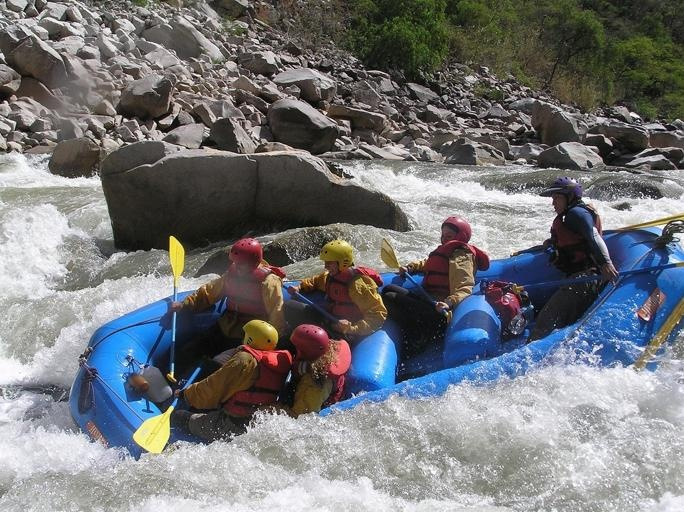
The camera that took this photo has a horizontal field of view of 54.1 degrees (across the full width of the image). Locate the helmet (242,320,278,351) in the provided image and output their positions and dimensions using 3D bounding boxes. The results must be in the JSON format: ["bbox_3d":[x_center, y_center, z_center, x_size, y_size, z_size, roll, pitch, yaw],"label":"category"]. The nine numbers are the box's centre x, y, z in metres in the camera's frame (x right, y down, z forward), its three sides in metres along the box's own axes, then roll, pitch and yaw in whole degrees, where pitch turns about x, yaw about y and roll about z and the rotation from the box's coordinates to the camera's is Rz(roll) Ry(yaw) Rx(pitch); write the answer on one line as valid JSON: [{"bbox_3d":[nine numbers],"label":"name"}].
[{"bbox_3d":[-0.602,0.564,5.008,0.241,0.197,0.182,30,14,30],"label":"helmet"}]

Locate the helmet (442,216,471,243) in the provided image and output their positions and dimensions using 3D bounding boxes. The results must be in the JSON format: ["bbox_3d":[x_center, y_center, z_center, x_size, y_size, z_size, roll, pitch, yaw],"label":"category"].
[{"bbox_3d":[1.032,-0.213,6.028,0.249,0.193,0.221,19,58,-37],"label":"helmet"}]

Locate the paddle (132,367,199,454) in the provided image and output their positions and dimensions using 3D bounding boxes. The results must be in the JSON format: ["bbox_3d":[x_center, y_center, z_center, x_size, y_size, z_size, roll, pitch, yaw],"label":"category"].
[{"bbox_3d":[-1.278,1.131,5.094,0.215,0.038,0.920,20,28,4],"label":"paddle"}]

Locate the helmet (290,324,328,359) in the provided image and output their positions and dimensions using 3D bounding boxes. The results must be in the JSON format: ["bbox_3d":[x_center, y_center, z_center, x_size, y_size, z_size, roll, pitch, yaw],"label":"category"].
[{"bbox_3d":[-0.228,0.648,5.085,0.259,0.252,0.203,21,14,11],"label":"helmet"}]

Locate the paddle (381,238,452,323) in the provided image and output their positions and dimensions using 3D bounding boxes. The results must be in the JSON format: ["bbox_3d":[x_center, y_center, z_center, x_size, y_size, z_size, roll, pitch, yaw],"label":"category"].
[{"bbox_3d":[0.579,0.159,6.164,0.129,0.205,1.233,9,40,-49],"label":"paddle"}]

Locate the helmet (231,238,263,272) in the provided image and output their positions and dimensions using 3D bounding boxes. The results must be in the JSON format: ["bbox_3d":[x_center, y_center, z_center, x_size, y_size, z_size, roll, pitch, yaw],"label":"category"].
[{"bbox_3d":[-0.781,-0.012,5.599,0.271,0.226,0.198,34,-5,-32],"label":"helmet"}]

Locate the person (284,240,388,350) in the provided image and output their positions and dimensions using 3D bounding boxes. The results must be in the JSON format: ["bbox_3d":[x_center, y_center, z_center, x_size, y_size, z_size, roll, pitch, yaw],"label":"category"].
[{"bbox_3d":[0.015,0.335,5.793,0.874,0.866,0.742,-5,19,-35],"label":"person"}]

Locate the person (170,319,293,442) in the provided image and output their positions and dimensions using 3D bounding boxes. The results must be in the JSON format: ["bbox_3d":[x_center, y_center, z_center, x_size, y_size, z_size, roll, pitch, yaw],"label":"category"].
[{"bbox_3d":[-0.795,0.928,4.942,0.863,0.826,0.406,2,27,-16],"label":"person"}]

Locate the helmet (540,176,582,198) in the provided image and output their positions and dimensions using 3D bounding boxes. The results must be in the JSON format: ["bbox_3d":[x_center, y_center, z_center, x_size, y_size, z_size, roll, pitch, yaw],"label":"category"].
[{"bbox_3d":[1.995,-0.598,6.118,0.313,0.173,0.208,9,-2,10],"label":"helmet"}]

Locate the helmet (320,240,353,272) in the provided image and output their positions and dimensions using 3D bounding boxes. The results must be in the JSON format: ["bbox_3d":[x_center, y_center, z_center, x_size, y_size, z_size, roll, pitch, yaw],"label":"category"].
[{"bbox_3d":[-0.019,-0.005,5.658,0.263,0.233,0.198,-20,30,-14],"label":"helmet"}]
